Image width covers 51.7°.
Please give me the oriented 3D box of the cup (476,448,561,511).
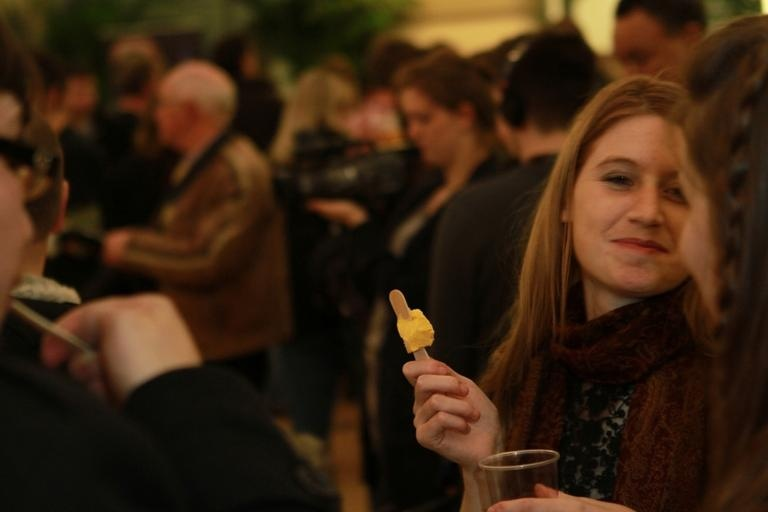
[{"bbox_3d":[0.293,0.475,1.703,0.162,0.089,0.104,-4,24,11],"label":"cup"}]
